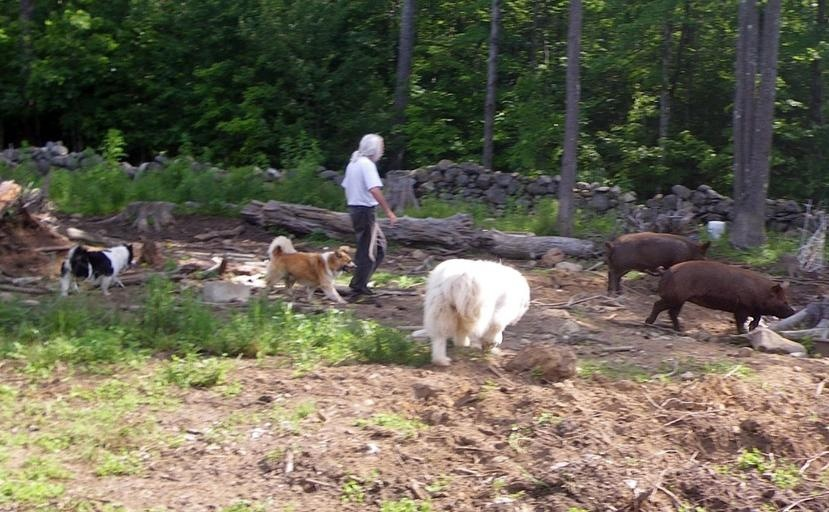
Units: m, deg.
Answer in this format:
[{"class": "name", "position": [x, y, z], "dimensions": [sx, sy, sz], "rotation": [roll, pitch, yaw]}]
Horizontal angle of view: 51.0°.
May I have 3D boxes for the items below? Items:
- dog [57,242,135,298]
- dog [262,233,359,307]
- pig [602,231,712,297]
[{"class": "dog", "position": [-6.879, 0.249, 18.727], "dimensions": [2.218, 1.094, 0.746], "rotation": [-1, 14, -39]}, {"class": "dog", "position": [-2.309, 0.279, 19.307], "dimensions": [2.504, 1.093, 0.660], "rotation": [5, 18, 31]}, {"class": "pig", "position": [5.854, -0.013, 19.513], "dimensions": [3.853, 1.270, 0.922], "rotation": [0, 3, -1]}]
